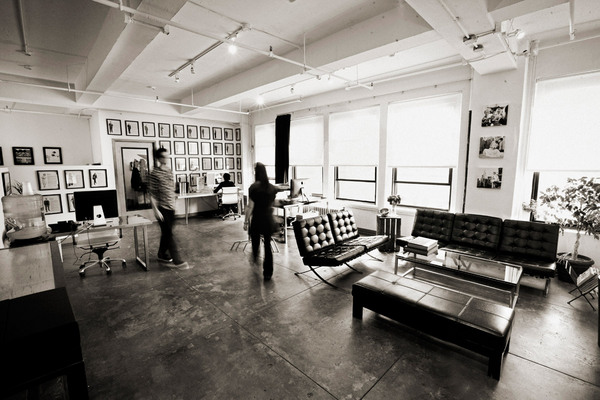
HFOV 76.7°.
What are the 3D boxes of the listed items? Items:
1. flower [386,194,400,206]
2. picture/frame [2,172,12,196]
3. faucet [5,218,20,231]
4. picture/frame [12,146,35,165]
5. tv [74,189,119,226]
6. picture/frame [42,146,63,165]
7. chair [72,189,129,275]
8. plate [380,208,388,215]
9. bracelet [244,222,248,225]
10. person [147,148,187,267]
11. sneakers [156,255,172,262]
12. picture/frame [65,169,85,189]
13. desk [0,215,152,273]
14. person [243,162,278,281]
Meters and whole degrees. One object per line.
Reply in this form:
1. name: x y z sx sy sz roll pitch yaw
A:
1. flower: 2.151 0.008 8.615 0.260 0.123 0.265 5 8 30
2. picture/frame: -4.860 -0.278 6.314 0.119 0.372 0.332 -6 13 -24
3. faucet: -4.614 0.392 6.090 0.254 0.209 0.101 5 13 25
4. picture/frame: -7.121 -1.137 9.738 0.041 0.567 0.510 2 4 37
5. tv: -3.897 0.072 7.167 0.533 0.737 1.067 -1 2 40
6. picture/frame: -6.654 -1.200 10.173 0.041 0.558 0.499 5 8 35
7. chair: -3.944 0.648 7.376 0.901 1.491 0.919 -5 -7 -23
8. plate: 1.920 0.278 8.699 0.162 0.121 0.058 -14 -11 34
9. bracelet: -1.038 0.458 7.313 0.055 0.059 0.053 8 15 24
10. person: -2.632 0.167 7.477 0.735 2.338 0.472 9 15 40
11. sneakers: -2.778 1.220 7.826 0.328 0.137 0.139 1 0 -9
12. picture/frame: -5.626 -0.531 9.446 0.056 0.547 0.454 12 13 43
13. desk: -3.892 0.925 7.305 1.792 0.841 0.888 -5 9 -33
14. person: -0.755 0.391 7.081 0.549 2.152 0.401 5 13 26
